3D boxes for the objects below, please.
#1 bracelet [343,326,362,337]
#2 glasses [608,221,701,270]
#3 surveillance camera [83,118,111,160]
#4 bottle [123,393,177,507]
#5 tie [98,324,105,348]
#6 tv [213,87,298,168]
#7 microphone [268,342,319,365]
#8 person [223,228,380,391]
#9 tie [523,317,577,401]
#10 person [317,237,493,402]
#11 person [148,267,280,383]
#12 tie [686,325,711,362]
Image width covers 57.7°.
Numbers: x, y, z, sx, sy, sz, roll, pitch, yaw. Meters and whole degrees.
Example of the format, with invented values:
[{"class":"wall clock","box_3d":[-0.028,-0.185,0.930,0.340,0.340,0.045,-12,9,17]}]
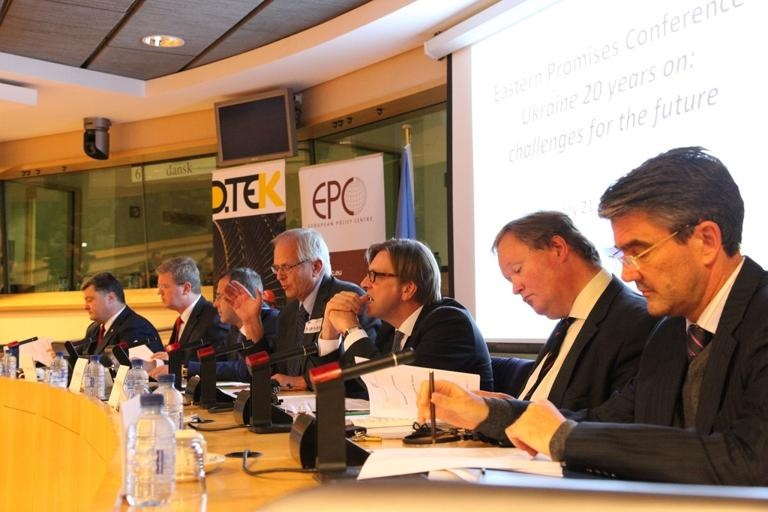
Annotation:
[{"class":"bracelet","box_3d":[-0.168,0.389,3.615,0.056,0.021,0.056,-21,-1,40]},{"class":"glasses","box_3d":[0.942,-0.036,2.444,0.191,0.052,0.144,-33,-3,0]},{"class":"surveillance camera","box_3d":[-3.180,-1.318,7.737,0.274,0.434,0.237,0,0,-35]},{"class":"bottle","box_3d":[-0.723,0.563,2.085,0.116,0.319,0.246,0,0,-41]},{"class":"tie","box_3d":[-2.482,0.709,6.125,0.030,0.206,0.024,11,-28,-7]},{"class":"tv","box_3d":[-1.248,-1.289,6.855,0.785,0.549,0.105,-4,9,29]},{"class":"microphone","box_3d":[-0.367,0.394,2.832,0.187,0.092,0.256,0,0,-7]},{"class":"person","box_3d":[-0.483,0.321,4.288,0.637,1.013,0.467,20,-49,-28]},{"class":"tie","box_3d":[0.761,0.469,3.181,0.062,0.427,0.044,16,23,-11]},{"class":"person","box_3d":[0.095,0.418,4.089,0.965,1.299,0.777,2,-23,-6]},{"class":"person","box_3d":[-1.158,0.511,5.095,0.924,0.757,0.600,11,-22,-18]},{"class":"tie","box_3d":[1.087,0.300,2.414,0.085,0.111,0.042,22,3,33]}]
